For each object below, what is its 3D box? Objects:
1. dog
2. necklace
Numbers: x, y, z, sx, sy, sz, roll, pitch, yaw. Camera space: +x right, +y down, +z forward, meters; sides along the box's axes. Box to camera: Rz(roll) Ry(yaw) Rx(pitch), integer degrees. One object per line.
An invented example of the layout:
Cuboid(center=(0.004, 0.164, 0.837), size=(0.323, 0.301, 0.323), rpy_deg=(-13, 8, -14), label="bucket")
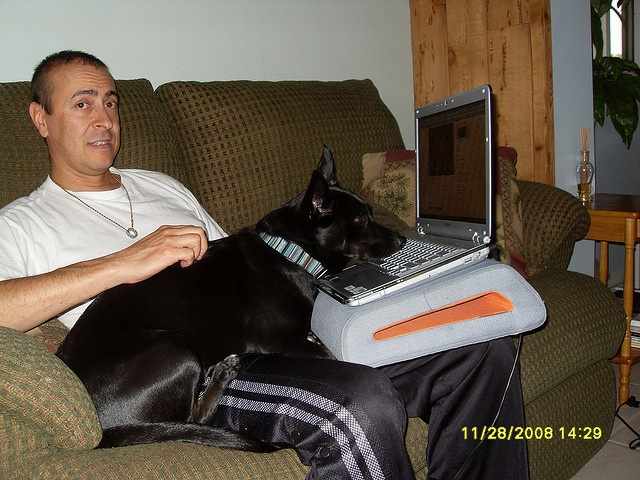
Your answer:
Cuboid(center=(-0.347, 0.251, 1.948), size=(1.347, 0.848, 0.948), rpy_deg=(-13, 10, -17), label="dog")
Cuboid(center=(-0.878, -0.114, 2.019), size=(0.031, 0.316, 0.176), rpy_deg=(-46, -12, 36), label="necklace")
